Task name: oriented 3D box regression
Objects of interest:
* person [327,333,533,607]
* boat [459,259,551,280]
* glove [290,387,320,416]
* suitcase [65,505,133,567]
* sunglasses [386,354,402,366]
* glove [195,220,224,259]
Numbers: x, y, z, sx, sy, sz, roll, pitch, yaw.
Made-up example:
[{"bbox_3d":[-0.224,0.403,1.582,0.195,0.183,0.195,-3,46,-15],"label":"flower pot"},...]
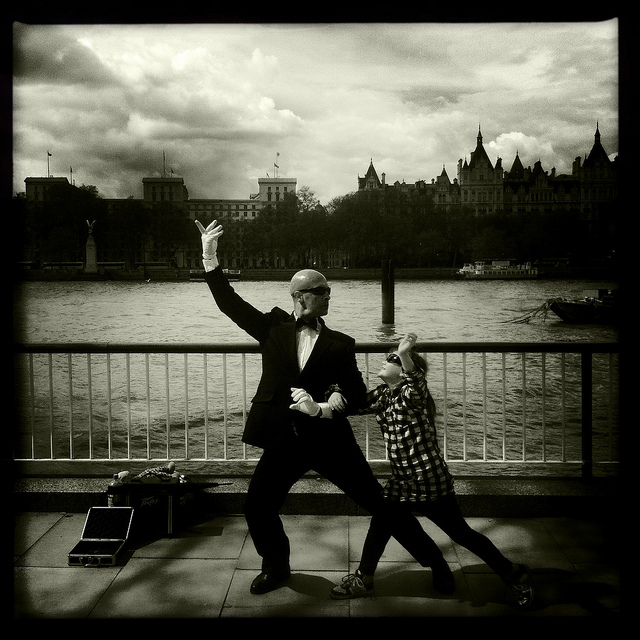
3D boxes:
[{"bbox_3d":[0.635,0.805,6.597,1.115,1.534,0.774,-1,6,7],"label":"person"},{"bbox_3d":[17.225,-4.567,102.973,9.444,2.013,1.957,-2,6,-13],"label":"boat"},{"bbox_3d":[-0.096,0.463,6.239,0.090,0.103,0.188,13,-20,44],"label":"glove"},{"bbox_3d":[-1.368,1.356,6.907,0.306,0.205,0.536,-1,13,10],"label":"suitcase"},{"bbox_3d":[0.417,0.225,6.343,0.052,0.064,0.070,15,-11,-35],"label":"sunglasses"},{"bbox_3d":[-0.646,-0.469,6.478,0.151,0.227,0.387,-2,6,-7],"label":"glove"}]
